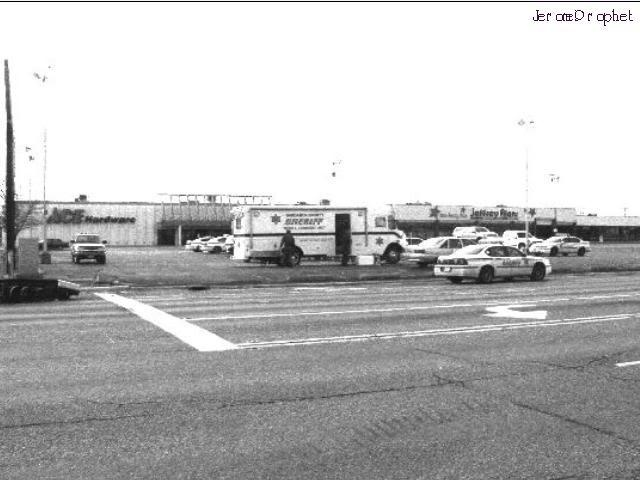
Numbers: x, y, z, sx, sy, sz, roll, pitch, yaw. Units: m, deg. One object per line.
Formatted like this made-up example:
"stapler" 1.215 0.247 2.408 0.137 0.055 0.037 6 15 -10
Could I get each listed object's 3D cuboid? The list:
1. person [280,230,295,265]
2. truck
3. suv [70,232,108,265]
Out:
"person" -1.537 0.466 34.801 0.637 1.780 0.521 2 -24 -4
"truck" -0.020 -0.291 36.581 7.912 2.951 2.444 0 4 -15
"suv" -12.910 0.529 40.672 1.603 1.631 2.420 -1 4 -24
